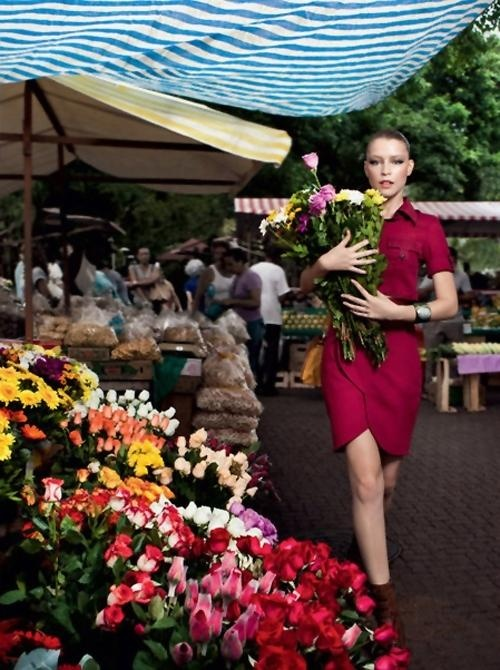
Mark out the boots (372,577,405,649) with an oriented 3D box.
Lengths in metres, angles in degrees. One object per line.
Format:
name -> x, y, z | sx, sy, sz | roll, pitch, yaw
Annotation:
boots -> 0.507, 1.030, 2.198 | 0.103, 0.246, 0.115 | -14, 11, -40

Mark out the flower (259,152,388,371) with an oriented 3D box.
flower -> 0.289, -0.282, 2.361 | 0.498, 0.816, 0.363 | 1, 0, 3
